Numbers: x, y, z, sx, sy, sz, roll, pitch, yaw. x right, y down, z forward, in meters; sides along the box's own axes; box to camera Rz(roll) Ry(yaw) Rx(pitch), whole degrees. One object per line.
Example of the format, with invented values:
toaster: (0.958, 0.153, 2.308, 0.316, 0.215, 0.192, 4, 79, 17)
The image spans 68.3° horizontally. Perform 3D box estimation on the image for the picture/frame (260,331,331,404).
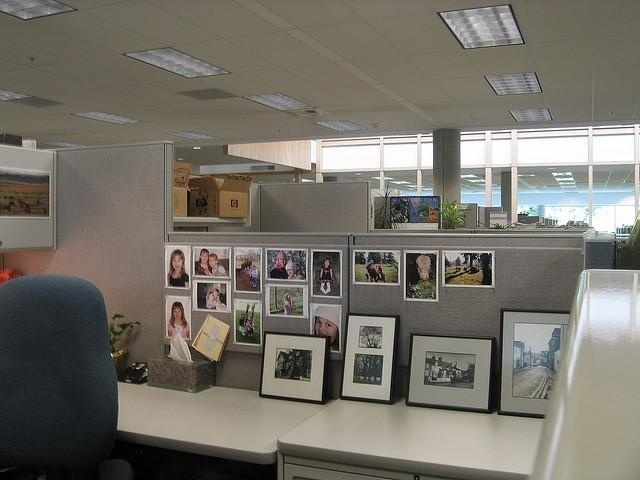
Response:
picture/frame: (-0.084, 0.501, 1.826, 0.238, 0.225, 0.028, 2, -17, 19)

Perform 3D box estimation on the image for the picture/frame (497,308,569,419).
picture/frame: (0.712, 0.406, 1.570, 0.210, 0.330, 0.149, -2, 3, 27)

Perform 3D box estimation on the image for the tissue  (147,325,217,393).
tissue : (-0.588, 0.453, 2.030, 0.322, 0.246, 0.180, 0, -3, 29)

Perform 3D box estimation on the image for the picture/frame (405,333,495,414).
picture/frame: (0.466, 0.472, 1.644, 0.239, 0.223, 0.018, 1, -17, 19)

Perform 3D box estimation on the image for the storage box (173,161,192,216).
storage box: (-0.897, -0.329, 3.106, 0.111, 0.344, 0.261, -4, 3, -15)

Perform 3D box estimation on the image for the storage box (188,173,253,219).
storage box: (-0.753, -0.318, 3.477, 0.457, 0.328, 0.510, 3, 3, 14)
